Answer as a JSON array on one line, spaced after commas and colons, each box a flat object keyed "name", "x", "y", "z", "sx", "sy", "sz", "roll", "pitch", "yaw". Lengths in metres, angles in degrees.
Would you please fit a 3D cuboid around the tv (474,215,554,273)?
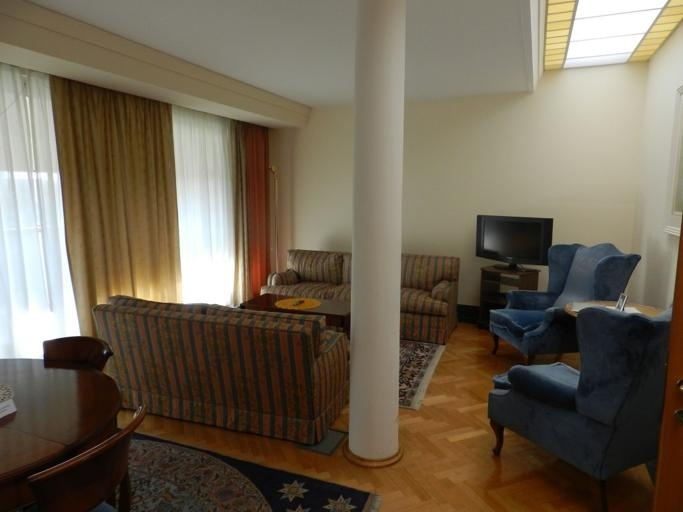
[{"name": "tv", "x": 2.239, "y": -0.165, "z": 6.515, "sx": 0.710, "sy": 0.521, "sz": 0.188, "roll": 5, "pitch": 7, "yaw": 43}]

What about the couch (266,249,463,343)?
[{"name": "couch", "x": 0.254, "y": 0.493, "z": 7.018, "sx": 2.560, "sy": 0.985, "sz": 0.946, "roll": 3, "pitch": 8, "yaw": 23}]

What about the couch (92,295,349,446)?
[{"name": "couch", "x": -1.067, "y": 0.937, "z": 4.787, "sx": 2.168, "sy": 1.149, "sz": 1.111, "roll": 4, "pitch": 13, "yaw": 22}]

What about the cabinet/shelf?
[{"name": "cabinet/shelf", "x": 2.170, "y": 0.594, "z": 6.590, "sx": 0.524, "sy": 0.853, "sz": 0.680, "roll": -3, "pitch": 7, "yaw": -25}]
